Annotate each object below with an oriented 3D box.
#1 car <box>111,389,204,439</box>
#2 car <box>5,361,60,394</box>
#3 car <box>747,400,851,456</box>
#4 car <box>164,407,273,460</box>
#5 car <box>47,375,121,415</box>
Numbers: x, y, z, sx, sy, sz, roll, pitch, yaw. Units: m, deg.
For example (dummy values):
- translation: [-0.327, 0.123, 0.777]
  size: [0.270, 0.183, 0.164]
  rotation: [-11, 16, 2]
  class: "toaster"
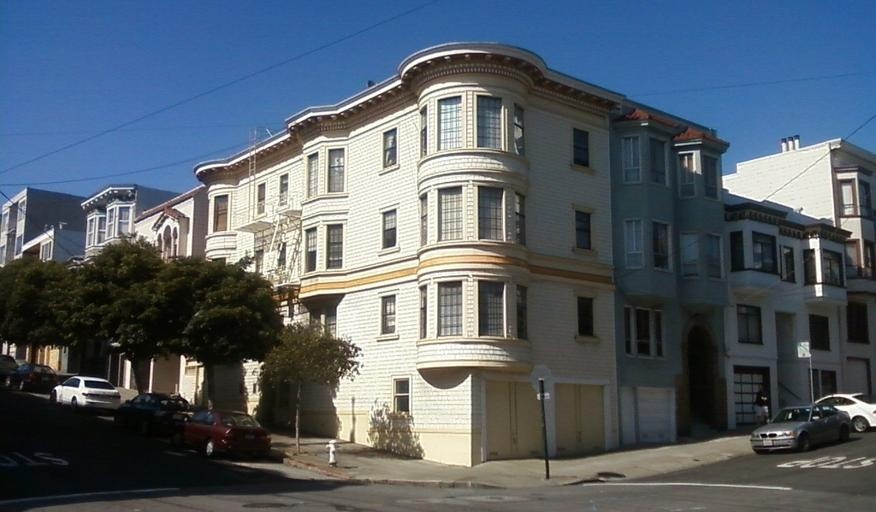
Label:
- translation: [-17.763, 9.951, 67.288]
  size: [5.378, 1.818, 2.522]
  rotation: [-2, -7, 43]
  class: "car"
- translation: [-31.060, 9.325, 81.410]
  size: [4.125, 2.066, 1.749]
  rotation: [4, 9, 28]
  class: "car"
- translation: [21.802, 10.452, 64.229]
  size: [6.008, 2.717, 2.204]
  rotation: [-4, 9, -29]
  class: "car"
- translation: [-12.852, 10.647, 62.851]
  size: [5.344, 2.874, 2.192]
  rotation: [3, 8, 23]
  class: "car"
- translation: [-24.191, 9.503, 72.919]
  size: [2.554, 1.641, 5.525]
  rotation: [8, -6, -43]
  class: "car"
